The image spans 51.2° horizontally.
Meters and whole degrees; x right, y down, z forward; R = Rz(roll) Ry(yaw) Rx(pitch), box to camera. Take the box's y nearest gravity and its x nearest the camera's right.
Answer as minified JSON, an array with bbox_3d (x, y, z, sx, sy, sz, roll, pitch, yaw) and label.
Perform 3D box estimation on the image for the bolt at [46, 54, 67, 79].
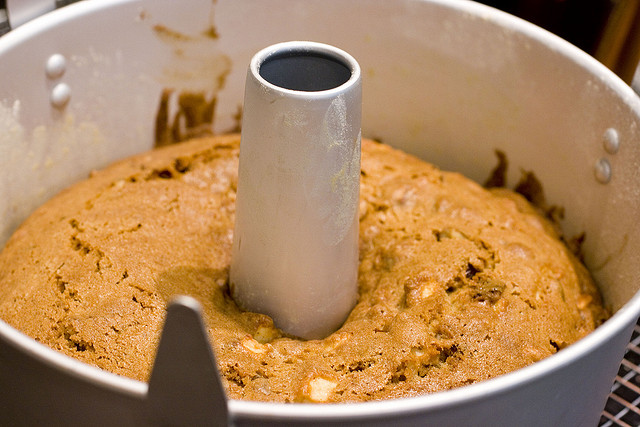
[{"bbox_3d":[-0.597,-0.338,1.512,0.032,0.051,0.035,-7,28,-19],"label":"bolt"}]

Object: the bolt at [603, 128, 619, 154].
[{"bbox_3d":[0.632,-0.159,1.451,0.008,0.037,0.042,-1,75,-22],"label":"bolt"}]

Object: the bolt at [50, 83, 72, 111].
[{"bbox_3d":[-0.604,-0.280,1.560,0.042,0.049,0.054,-7,13,-35],"label":"bolt"}]

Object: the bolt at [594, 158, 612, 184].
[{"bbox_3d":[0.625,-0.095,1.477,0.008,0.047,0.034,0,21,-25],"label":"bolt"}]
